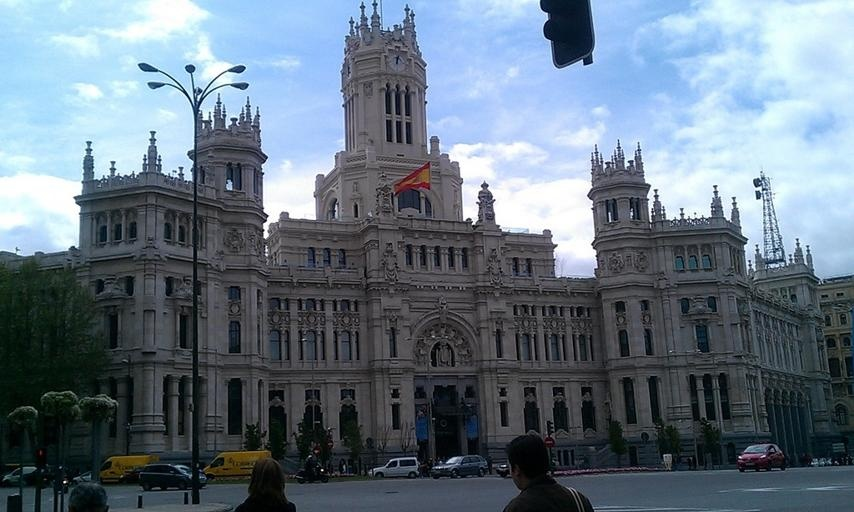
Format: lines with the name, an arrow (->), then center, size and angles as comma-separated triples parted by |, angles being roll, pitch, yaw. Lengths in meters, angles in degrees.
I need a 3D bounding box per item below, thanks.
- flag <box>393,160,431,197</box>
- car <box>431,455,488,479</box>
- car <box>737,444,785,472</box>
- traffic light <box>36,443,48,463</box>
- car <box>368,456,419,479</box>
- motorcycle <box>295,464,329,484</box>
flag -> -1.835, -9.061, 120.021 | 5.365, 4.407, 0.526 | 3, 24, 10
car -> 3.350, 21.025, 102.608 | 5.727, 2.042, 2.163 | 7, -17, -39
car -> 30.811, 18.568, 94.895 | 4.441, 2.453, 2.196 | 7, -17, -38
traffic light -> -25.789, 13.401, 69.030 | 0.519, 1.189, 1.021 | 4, -15, -28
car -> -3.037, 21.554, 104.283 | 3.876, 1.588, 2.155 | 1, -18, 0
motorcycle -> -10.678, 20.683, 96.314 | 3.085, 1.508, 1.389 | 0, -17, -7
